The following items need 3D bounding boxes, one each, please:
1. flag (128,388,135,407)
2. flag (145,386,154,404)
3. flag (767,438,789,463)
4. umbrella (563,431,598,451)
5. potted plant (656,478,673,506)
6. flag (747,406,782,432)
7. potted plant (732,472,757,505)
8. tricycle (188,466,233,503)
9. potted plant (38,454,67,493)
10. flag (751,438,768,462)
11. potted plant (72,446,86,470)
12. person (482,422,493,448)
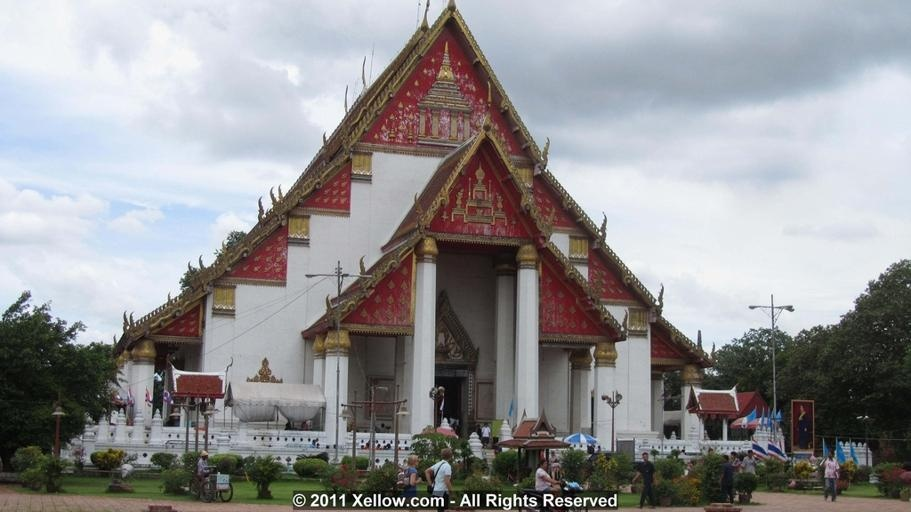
[{"bbox_3d":[-15.133,6.642,58.650,0.316,0.715,0.635,10,-19,-19],"label":"flag"},{"bbox_3d":[-14.269,6.565,58.473,0.146,0.765,0.588,-2,-19,18],"label":"flag"},{"bbox_3d":[15.141,9.333,58.559,0.924,1.211,2.960,-1,-18,14],"label":"flag"},{"bbox_3d":[5.534,8.083,54.180,1.398,0.938,2.238,1,-18,7],"label":"umbrella"},{"bbox_3d":[8.205,9.391,48.930,0.963,0.965,0.815,2,-13,-6],"label":"potted plant"},{"bbox_3d":[15.170,8.401,62.728,1.807,1.455,2.297,1,-7,-20],"label":"flag"},{"bbox_3d":[11.650,9.361,49.859,1.064,1.253,1.110,-1,-5,8],"label":"potted plant"},{"bbox_3d":[-9.370,8.864,47.979,1.635,1.174,1.104,-5,-9,43],"label":"tricycle"},{"bbox_3d":[-16.038,8.825,49.909,0.965,1.503,0.921,7,-18,-10],"label":"potted plant"},{"bbox_3d":[14.100,9.112,57.676,0.878,0.852,0.102,19,-31,-5],"label":"flag"},{"bbox_3d":[-16.026,8.695,53.327,0.382,1.083,0.853,16,-22,-34],"label":"potted plant"},{"bbox_3d":[1.476,8.280,56.618,0.443,1.006,0.881,0,-18,11],"label":"person"}]
